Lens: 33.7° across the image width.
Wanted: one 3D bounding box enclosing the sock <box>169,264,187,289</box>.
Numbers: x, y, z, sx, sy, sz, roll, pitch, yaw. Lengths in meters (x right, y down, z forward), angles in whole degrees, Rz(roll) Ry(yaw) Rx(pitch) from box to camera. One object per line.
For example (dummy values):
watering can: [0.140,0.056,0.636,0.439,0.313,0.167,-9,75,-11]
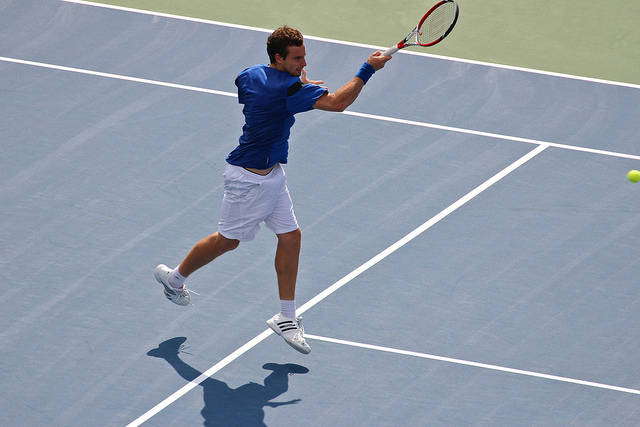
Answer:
sock: [-1.435,0.629,10.521,0.103,0.208,0.237,37,67,-32]
